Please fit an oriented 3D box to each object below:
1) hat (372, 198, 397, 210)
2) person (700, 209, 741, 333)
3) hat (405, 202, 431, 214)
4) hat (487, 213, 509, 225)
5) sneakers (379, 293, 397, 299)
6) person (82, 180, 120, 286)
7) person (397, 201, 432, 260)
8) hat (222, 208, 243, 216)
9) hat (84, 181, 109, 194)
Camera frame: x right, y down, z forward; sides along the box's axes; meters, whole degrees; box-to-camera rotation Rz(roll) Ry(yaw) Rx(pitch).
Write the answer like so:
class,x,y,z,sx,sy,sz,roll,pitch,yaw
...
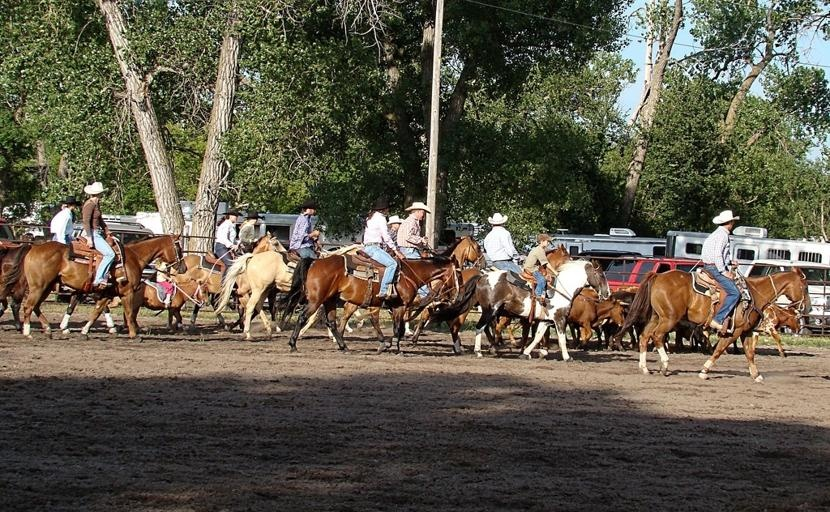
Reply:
class,x,y,z,sx,sy,sz,roll,pitch,yaw
hat,-1.000,-1.543,31.680,0.870,0.332,0.945,-2,5,6
person,8.445,0.398,29.671,1.031,3.374,1.113,2,-3,16
hat,0.108,-1.565,34.288,0.906,0.273,0.898,1,-8,2
hat,2.460,-1.093,32.170,0.563,0.220,0.602,-2,12,4
sneakers,-0.787,1.124,30.814,0.574,0.164,0.214,4,-3,-40
person,-8.957,-0.642,30.446,0.947,3.016,1.102,3,-3,-17
person,-0.009,-0.762,33.428,1.089,2.530,1.177,-8,32,-10
hat,-5.835,-1.421,34.638,0.525,0.171,0.552,1,-3,7
hat,-8.983,-1.911,30.407,0.581,0.221,0.604,7,12,-3
